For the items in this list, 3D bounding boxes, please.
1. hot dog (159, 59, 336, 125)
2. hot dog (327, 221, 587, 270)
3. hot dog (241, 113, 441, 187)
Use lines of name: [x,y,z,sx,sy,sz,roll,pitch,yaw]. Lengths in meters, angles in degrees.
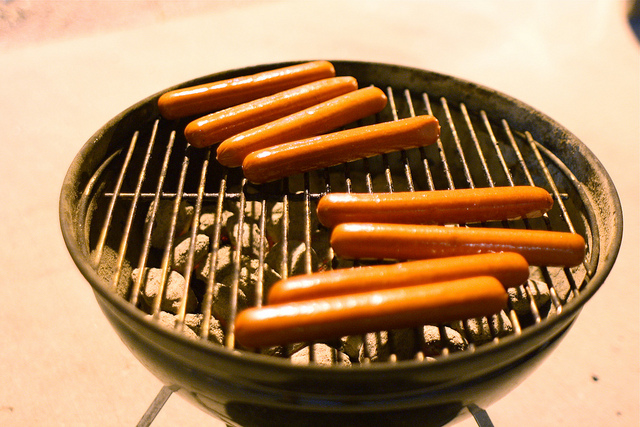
hot dog: [-0.329,-0.561,2.830,0.943,0.182,0.185,-18,-25,-16]
hot dog: [0.555,0.129,2.386,0.805,0.166,0.160,3,-5,-1]
hot dog: [0.101,-0.276,2.632,0.882,0.206,0.125,-6,-20,-4]
